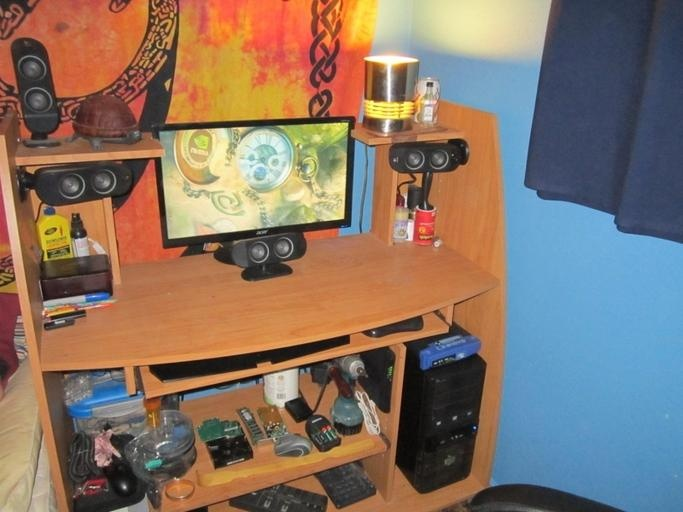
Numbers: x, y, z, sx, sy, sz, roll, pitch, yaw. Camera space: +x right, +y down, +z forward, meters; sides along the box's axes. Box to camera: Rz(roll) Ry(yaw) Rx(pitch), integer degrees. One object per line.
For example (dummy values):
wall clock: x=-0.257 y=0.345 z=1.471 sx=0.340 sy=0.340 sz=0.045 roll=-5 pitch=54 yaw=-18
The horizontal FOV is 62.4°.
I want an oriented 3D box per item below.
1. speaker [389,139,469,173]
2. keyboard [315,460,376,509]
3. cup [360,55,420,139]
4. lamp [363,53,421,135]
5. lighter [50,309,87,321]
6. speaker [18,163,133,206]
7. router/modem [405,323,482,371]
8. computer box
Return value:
speaker: x=0.321 y=-0.418 z=2.209 sx=0.268 sy=0.136 sz=0.242 roll=-6 pitch=19 yaw=-23
keyboard: x=0.023 y=0.927 z=2.295 sx=0.217 sy=0.105 sz=0.256 roll=-1 pitch=16 yaw=-20
cup: x=0.182 y=-0.600 z=2.203 sx=0.173 sy=0.328 sz=0.151 roll=-6 pitch=24 yaw=-28
lamp: x=0.203 y=-0.634 z=2.213 sx=0.202 sy=0.289 sz=0.227 roll=-4 pitch=22 yaw=-15
lighter: x=-0.880 y=0.193 z=1.808 sx=0.104 sy=0.027 sz=0.029 roll=-11 pitch=20 yaw=-20
speaker: x=-0.860 y=-0.236 z=1.839 sx=0.331 sy=0.127 sz=0.076 roll=-12 pitch=20 yaw=-23
router/modem: x=0.404 y=0.329 z=2.148 sx=0.242 sy=0.094 sz=0.133 roll=-10 pitch=23 yaw=-23
computer box: x=0.379 y=0.660 z=2.360 sx=0.272 sy=0.689 sz=0.260 roll=-5 pitch=22 yaw=-20
